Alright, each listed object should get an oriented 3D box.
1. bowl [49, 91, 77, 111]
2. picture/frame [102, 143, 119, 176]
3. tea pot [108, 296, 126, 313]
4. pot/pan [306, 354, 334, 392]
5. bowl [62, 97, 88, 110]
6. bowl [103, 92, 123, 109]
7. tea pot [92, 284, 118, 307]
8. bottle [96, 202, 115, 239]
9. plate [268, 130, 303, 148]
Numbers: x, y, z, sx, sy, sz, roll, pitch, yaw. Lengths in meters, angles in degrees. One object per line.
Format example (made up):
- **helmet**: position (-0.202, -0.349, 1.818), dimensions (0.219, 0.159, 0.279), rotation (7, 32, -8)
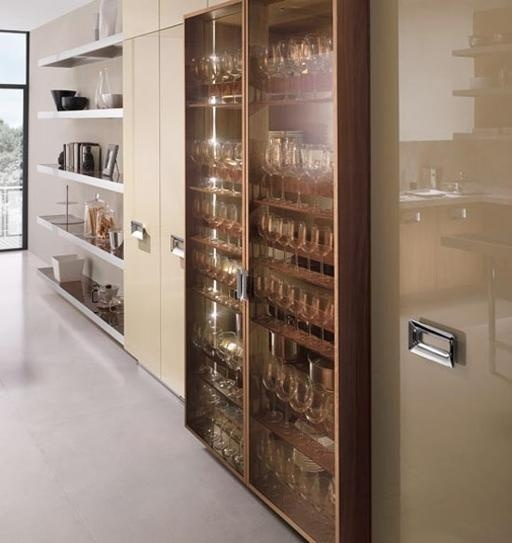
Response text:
- **bowl**: position (-2.140, -1.917, 5.374), dimensions (0.217, 0.210, 0.252), rotation (-2, 7, -22)
- **picture/frame**: position (-1.394, -1.063, 4.663), dimensions (0.161, 0.319, 0.521), rotation (-2, 11, -17)
- **tea pot**: position (-1.225, 0.264, 4.294), dimensions (0.114, 0.156, 0.115), rotation (4, 3, 0)
- **pot/pan**: position (0.226, 0.348, 1.691), dimensions (0.079, 0.066, 0.090), rotation (2, 4, 16)
- **bowl**: position (-1.969, -1.822, 5.284), dimensions (0.179, 0.139, 0.183), rotation (-3, 11, 1)
- **bowl**: position (-1.257, -1.489, 4.286), dimensions (0.165, 0.129, 0.169), rotation (-1, 5, 0)
- **tea pot**: position (-1.453, 0.219, 4.605), dimensions (0.253, 0.247, 0.200), rotation (2, 0, 5)
- **bottle**: position (-1.469, -0.485, 4.738), dimensions (0.178, 0.288, 0.262), rotation (-2, 10, -18)
- **plate**: position (0.109, -0.473, 1.703), dimensions (0.006, 0.046, 0.154), rotation (-6, 13, -41)
